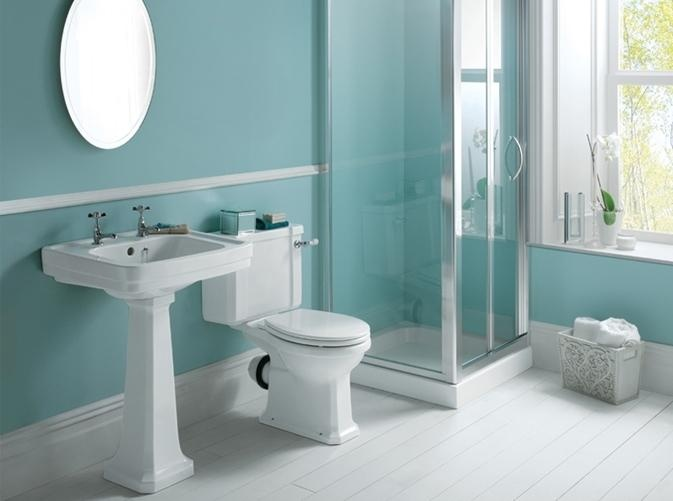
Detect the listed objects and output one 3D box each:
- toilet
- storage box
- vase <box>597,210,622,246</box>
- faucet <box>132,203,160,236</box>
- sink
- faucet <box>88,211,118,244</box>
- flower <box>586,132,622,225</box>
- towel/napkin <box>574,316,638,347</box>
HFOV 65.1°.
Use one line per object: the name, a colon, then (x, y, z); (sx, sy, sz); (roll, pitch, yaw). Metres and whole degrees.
toilet: (-0.261, 0.427, 2.925); (1.005, 1.077, 0.637); (4, 5, 40)
storage box: (1.620, 0.710, 3.246); (0.272, 0.354, 0.414); (-8, 8, -25)
vase: (1.804, -0.145, 3.507); (0.124, 0.237, 0.068); (3, 11, 21)
faucet: (-0.933, -0.136, 2.535); (0.151, 0.154, 0.111); (3, 5, 31)
sink: (-0.840, 0.078, 2.419); (0.591, 0.254, 0.782); (10, 15, 42)
faucet: (-1.093, -0.102, 2.417); (0.162, 0.176, 0.104); (4, 6, 29)
flower: (1.829, -0.497, 3.613); (0.249, 0.594, 0.367); (5, 12, 28)
towel/napkin: (1.662, 0.453, 3.192); (0.206, 0.098, 0.205); (0, 5, -39)
